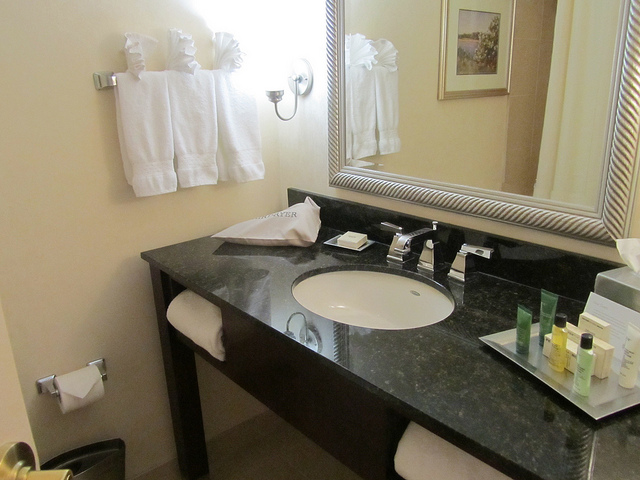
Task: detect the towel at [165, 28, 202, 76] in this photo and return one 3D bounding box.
[{"bbox_3d":[-0.477,-0.674,1.791,0.105,0.155,0.153,13,31,27],"label":"towel"}]

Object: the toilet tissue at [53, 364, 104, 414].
[{"bbox_3d":[-0.881,0.552,1.815,0.115,0.139,0.162,-2,6,32],"label":"toilet tissue"}]

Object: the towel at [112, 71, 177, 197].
[{"bbox_3d":[-0.604,-0.363,1.750,0.222,0.408,0.092,-9,15,-33],"label":"towel"}]

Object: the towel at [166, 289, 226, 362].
[{"bbox_3d":[-0.406,0.279,1.646,0.192,0.210,0.072,20,14,31],"label":"towel"}]

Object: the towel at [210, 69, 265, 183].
[{"bbox_3d":[-0.327,-0.445,1.961,0.207,0.428,0.140,-17,30,-28],"label":"towel"}]

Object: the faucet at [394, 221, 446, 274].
[{"bbox_3d":[0.327,0.008,1.609,0.099,0.148,0.165,-21,33,-33],"label":"faucet"}]

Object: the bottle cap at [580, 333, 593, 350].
[{"bbox_3d":[0.545,0.211,1.027,0.026,0.033,0.028,-4,16,6],"label":"bottle cap"}]
